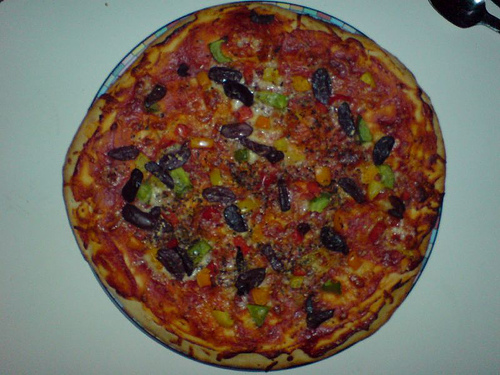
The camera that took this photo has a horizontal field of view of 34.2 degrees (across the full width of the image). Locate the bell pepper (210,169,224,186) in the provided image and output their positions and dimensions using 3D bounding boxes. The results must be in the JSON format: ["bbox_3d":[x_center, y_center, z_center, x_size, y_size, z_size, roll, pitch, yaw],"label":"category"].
[{"bbox_3d":[-0.211,-0.059,5.025,0.075,0.089,0.041,0,-22,-2],"label":"bell pepper"}]

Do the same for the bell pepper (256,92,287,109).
[{"bbox_3d":[0.129,-0.542,5.021,0.179,0.084,0.061,17,4,-4],"label":"bell pepper"}]

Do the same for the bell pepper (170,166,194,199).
[{"bbox_3d":[-0.430,-0.032,5.068,0.129,0.175,0.044,-3,15,-4],"label":"bell pepper"}]

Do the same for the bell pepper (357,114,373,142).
[{"bbox_3d":[0.693,-0.363,4.996,0.065,0.143,0.115,-17,-26,34],"label":"bell pepper"}]

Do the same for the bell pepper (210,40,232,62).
[{"bbox_3d":[-0.185,-0.830,4.919,0.083,0.102,0.120,-11,-24,24],"label":"bell pepper"}]

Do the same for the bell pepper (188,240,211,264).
[{"bbox_3d":[-0.320,0.402,5.059,0.112,0.132,0.075,-13,-25,27],"label":"bell pepper"}]

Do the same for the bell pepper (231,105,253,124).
[{"bbox_3d":[-0.049,-0.458,4.998,0.126,0.089,0.047,-1,-22,-1],"label":"bell pepper"}]

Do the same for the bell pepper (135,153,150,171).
[{"bbox_3d":[-0.664,-0.157,4.977,0.070,0.097,0.052,11,-25,-27],"label":"bell pepper"}]

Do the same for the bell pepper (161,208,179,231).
[{"bbox_3d":[-0.493,0.197,4.997,0.078,0.146,0.034,-36,8,-9],"label":"bell pepper"}]

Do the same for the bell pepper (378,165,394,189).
[{"bbox_3d":[0.840,-0.066,5.008,0.080,0.137,0.070,-5,-22,9],"label":"bell pepper"}]
